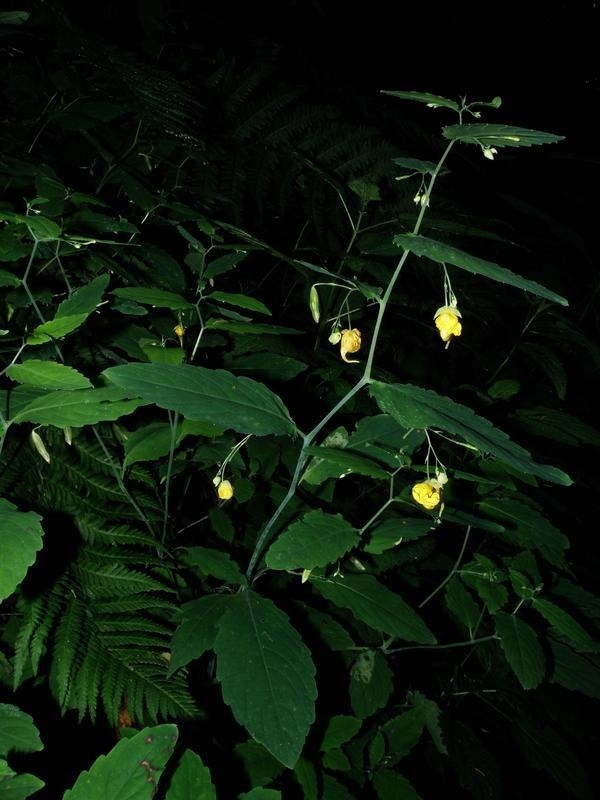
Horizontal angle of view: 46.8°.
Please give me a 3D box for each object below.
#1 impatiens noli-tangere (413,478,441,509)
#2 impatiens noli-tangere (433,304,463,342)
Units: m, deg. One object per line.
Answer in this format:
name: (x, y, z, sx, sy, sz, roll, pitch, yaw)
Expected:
impatiens noli-tangere: (0.306, 0.219, 1.653, 0.078, 0.070, 0.029, 5, -8, 1)
impatiens noli-tangere: (0.338, -0.173, 1.587, 0.058, 0.091, 0.153, 20, 3, 9)
